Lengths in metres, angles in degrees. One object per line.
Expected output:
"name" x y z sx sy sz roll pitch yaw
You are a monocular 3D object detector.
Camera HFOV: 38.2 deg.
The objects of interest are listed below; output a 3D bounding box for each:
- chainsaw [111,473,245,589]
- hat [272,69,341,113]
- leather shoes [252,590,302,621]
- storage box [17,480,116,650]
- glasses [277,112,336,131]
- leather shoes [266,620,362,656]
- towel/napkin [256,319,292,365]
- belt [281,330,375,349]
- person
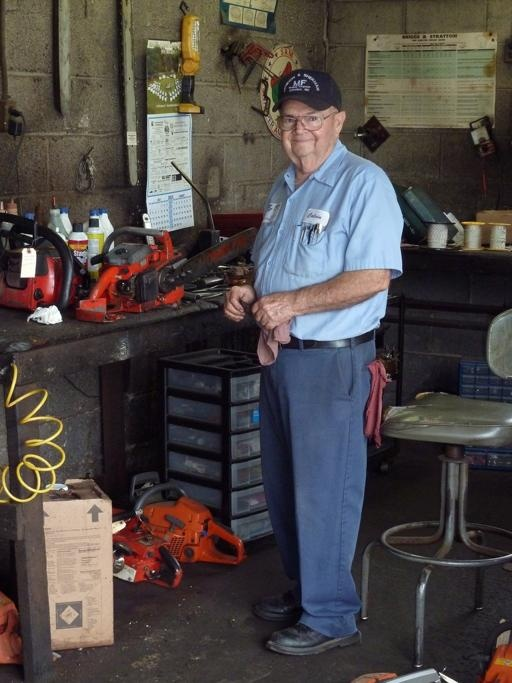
"chainsaw" -0.314 0.660 2.695 0.498 0.294 0.507 16 19 43
"hat" 0.119 -0.643 1.888 0.178 0.118 0.148 3 10 17
"leather shoes" 0.068 0.804 2.240 0.175 0.059 0.063 3 1 -5
"storage box" -0.492 0.657 2.145 0.283 0.393 0.243 -4 -17 1
"glasses" 0.131 -0.560 1.884 0.143 0.051 0.065 0 10 2
"leather shoes" 0.163 0.831 2.101 0.256 0.095 0.084 2 -1 -9
"towel/napkin" 0.043 0.011 1.941 0.066 0.134 0.147 -5 11 -23
"belt" 0.207 -0.001 1.934 0.251 0.043 0.079 -3 10 -16
"person" 0.141 0.081 2.071 0.556 1.529 0.632 0 -1 -13
